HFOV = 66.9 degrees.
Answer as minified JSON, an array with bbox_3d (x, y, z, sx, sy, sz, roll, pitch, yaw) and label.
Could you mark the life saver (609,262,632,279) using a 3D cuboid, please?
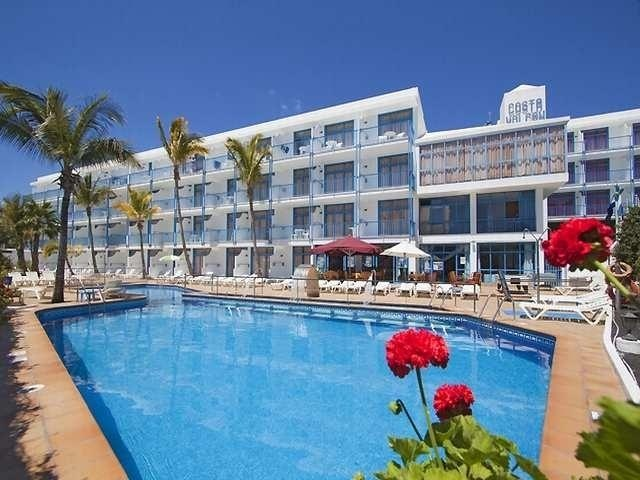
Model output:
[{"bbox_3d":[13.440,1.400,21.892,0.591,0.279,0.668,11,31,38],"label":"life saver"}]
